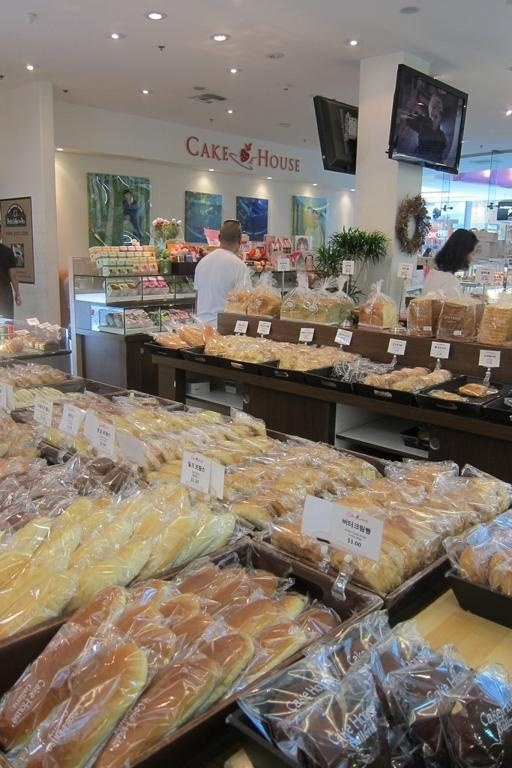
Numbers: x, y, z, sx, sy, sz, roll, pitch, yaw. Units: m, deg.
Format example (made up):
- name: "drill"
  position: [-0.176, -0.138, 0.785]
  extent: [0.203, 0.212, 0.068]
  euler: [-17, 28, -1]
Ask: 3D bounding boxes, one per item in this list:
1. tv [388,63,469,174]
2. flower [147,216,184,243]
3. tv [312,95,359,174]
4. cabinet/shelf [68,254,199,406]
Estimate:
- name: "tv"
  position: [1.878, -2.871, 5.501]
  extent: [0.248, 0.890, 1.503]
  euler: [10, 15, 43]
- name: "flower"
  position: [-1.129, -1.971, 6.429]
  extent: [0.309, 0.300, 0.315]
  euler: [-5, 12, -25]
- name: "tv"
  position: [0.919, -2.872, 5.759]
  extent: [0.640, 0.772, 0.212]
  euler: [-6, 12, -29]
- name: "cabinet/shelf"
  position: [-1.354, -0.599, 5.822]
  extent: [0.736, 1.628, 1.251]
  euler: [12, 18, 32]
